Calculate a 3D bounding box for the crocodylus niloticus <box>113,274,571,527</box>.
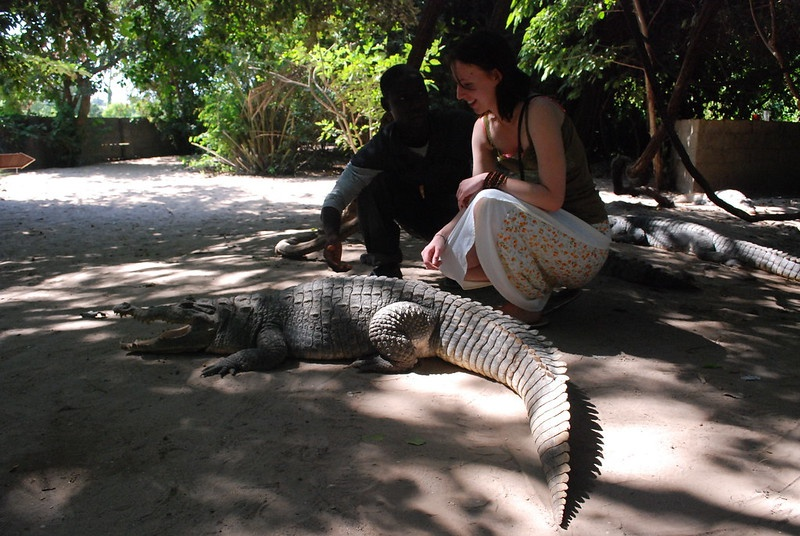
[{"bbox_3d":[-0.229,0.479,3.365,3.733,0.408,2.104,3,9,39],"label":"crocodylus niloticus"}]
